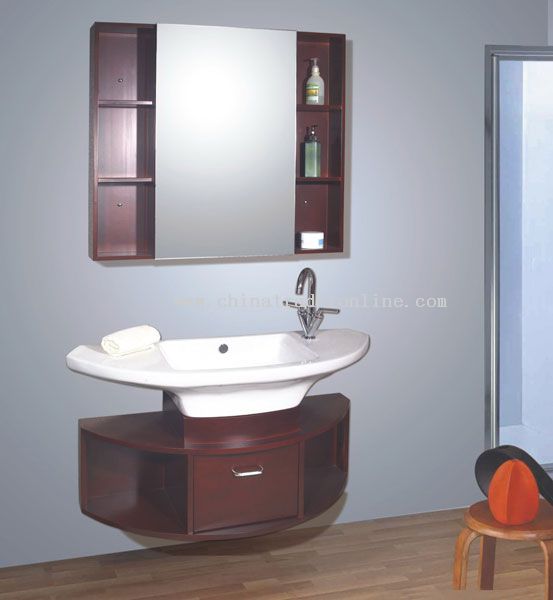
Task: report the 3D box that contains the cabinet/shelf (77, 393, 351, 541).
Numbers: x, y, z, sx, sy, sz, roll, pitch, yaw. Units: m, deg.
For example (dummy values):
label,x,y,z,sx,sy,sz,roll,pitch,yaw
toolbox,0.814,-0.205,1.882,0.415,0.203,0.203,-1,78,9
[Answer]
label,x,y,z,sx,sy,sz,roll,pitch,yaw
cabinet/shelf,-0.185,0.523,2.154,0.981,0.373,0.546,-1,8,-13

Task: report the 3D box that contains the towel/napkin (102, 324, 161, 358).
label,x,y,z,sx,sy,sz,roll,pitch,yaw
towel/napkin,-0.488,0.127,2.071,0.089,0.036,0.166,9,16,37

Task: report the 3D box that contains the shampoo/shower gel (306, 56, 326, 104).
label,x,y,z,sx,sy,sz,roll,pitch,yaw
shampoo/shower gel,0.149,-0.860,2.459,0.080,0.197,0.107,1,8,3

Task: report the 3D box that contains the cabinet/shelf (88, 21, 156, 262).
label,x,y,z,sx,sy,sz,roll,pitch,yaw
cabinet/shelf,-0.548,-0.555,2.245,0.252,0.801,0.092,2,6,2

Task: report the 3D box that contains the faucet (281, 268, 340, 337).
label,x,y,z,sx,sy,sz,roll,pitch,yaw
faucet,0.122,0.010,2.471,0.275,0.313,0.168,1,2,13

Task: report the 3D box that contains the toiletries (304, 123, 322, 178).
label,x,y,z,sx,sy,sz,roll,pitch,yaw
toiletries,0.141,-0.590,2.483,0.072,0.207,0.095,0,8,0
